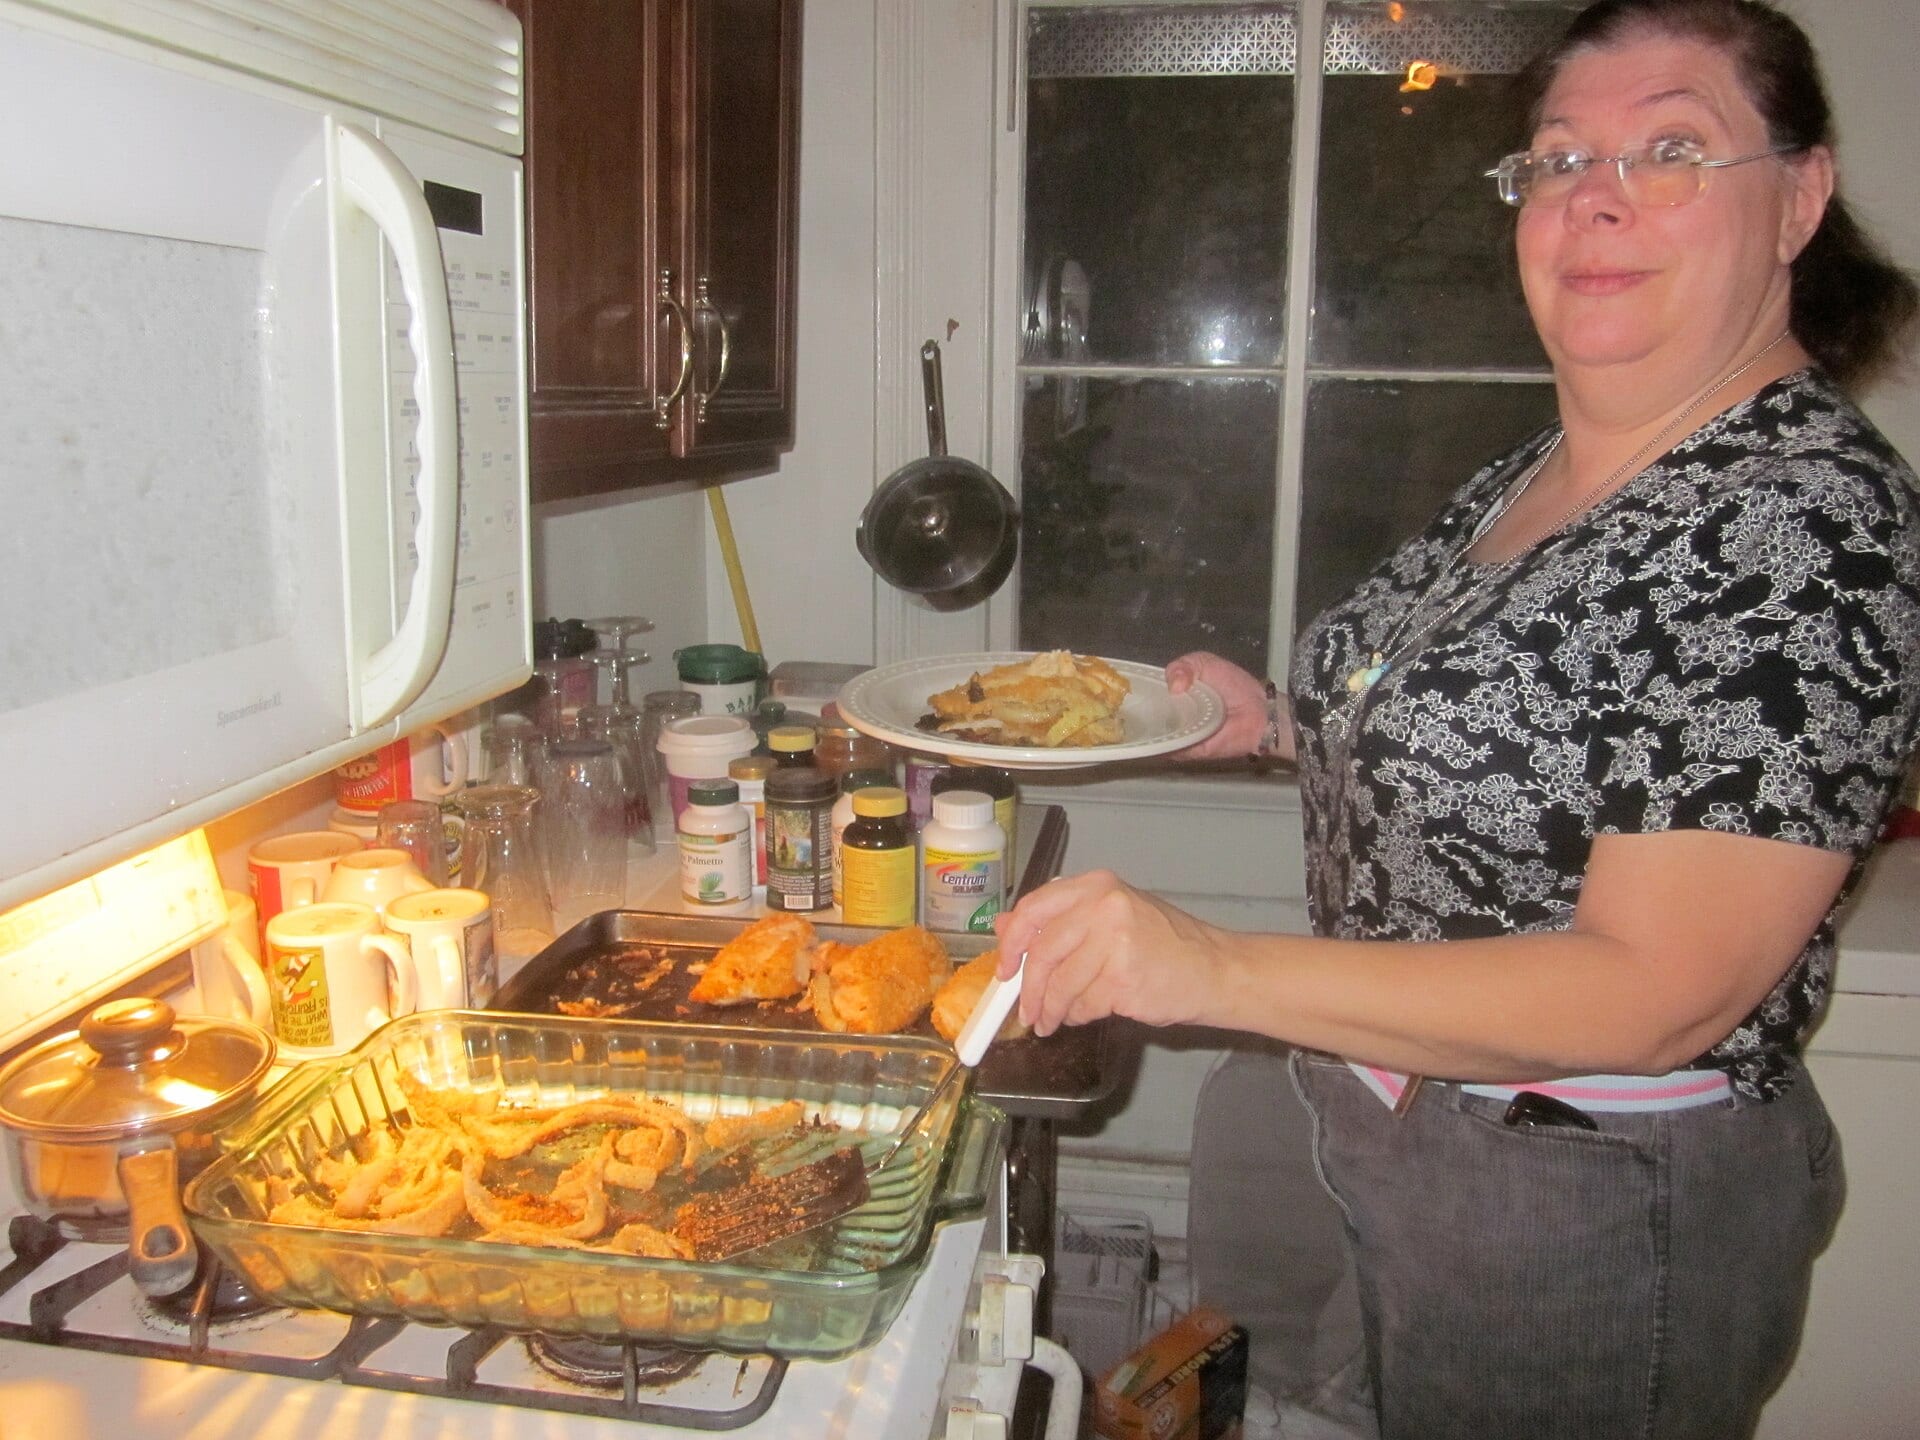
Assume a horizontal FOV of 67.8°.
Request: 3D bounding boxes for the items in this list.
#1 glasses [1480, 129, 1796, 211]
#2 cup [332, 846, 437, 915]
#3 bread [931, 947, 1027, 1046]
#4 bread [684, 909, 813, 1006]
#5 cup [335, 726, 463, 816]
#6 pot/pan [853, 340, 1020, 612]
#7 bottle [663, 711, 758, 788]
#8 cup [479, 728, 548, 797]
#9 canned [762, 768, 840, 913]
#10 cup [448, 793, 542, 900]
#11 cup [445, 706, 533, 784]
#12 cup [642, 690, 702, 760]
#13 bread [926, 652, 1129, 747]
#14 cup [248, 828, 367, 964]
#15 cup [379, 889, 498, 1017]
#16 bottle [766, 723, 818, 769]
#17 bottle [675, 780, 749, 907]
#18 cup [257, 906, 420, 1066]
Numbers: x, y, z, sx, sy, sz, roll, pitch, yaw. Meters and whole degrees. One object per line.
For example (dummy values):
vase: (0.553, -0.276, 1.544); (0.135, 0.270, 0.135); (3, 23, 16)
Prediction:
glasses: (0.569, -0.452, 1.192); (0.199, 0.059, 0.080); (9, 16, 36)
cup: (-0.569, 0.157, 1.397); (0.052, 0.030, 0.079); (2, 6, 8)
bread: (0.013, 0.276, 1.437); (0.062, 0.042, 0.126); (-30, 19, 52)
bread: (-0.219, 0.254, 1.500); (0.078, 0.037, 0.107); (19, 41, 31)
cup: (-0.641, 0.064, 1.653); (0.124, 0.098, 0.075); (5, 7, 1)
pot/pan: (-0.044, -0.350, 2.237); (0.286, 0.411, 0.139); (-2, 2, 5)
bottle: (-0.330, 0.038, 1.916); (0.095, 0.081, 0.091); (4, 12, 13)
cup: (-0.549, 0.052, 1.784); (0.079, 0.081, 0.075); (2, 9, 0)
canned: (-0.190, 0.142, 1.760); (0.081, 0.172, 0.114); (0, 13, -1)
cup: (-0.520, 0.137, 1.634); (0.095, 0.114, 0.113); (-5, 22, -25)
cup: (-0.594, 0.030, 1.831); (0.106, 0.103, 0.102); (1, 2, 0)
cup: (-0.404, 0.004, 2.082); (0.086, 0.073, 0.082); (2, 5, 0)
bread: (0.092, -0.021, 1.833); (0.174, 0.056, 0.157); (2, 13, 17)
cup: (-0.640, 0.183, 1.430); (0.080, 0.086, 0.126); (-1, 17, -5)
cup: (-0.472, 0.218, 1.344); (0.084, 0.105, 0.127); (-3, 11, -17)
bottle: (-0.213, 0.035, 1.839); (0.054, 0.046, 0.052); (1, 7, 12)
bottle: (-0.299, 0.154, 1.749); (0.076, 0.156, 0.054); (3, 14, 14)
cup: (-0.565, 0.237, 1.308); (0.115, 0.118, 0.115); (0, 13, 0)
